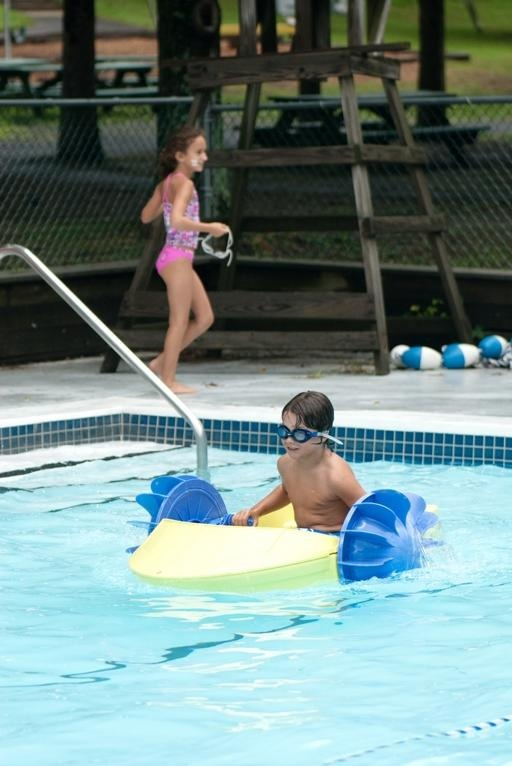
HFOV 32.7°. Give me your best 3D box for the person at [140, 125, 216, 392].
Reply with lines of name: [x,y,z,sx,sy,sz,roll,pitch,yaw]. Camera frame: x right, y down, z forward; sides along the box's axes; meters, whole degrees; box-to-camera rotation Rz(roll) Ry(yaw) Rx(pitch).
person: [-0.497,-0.837,5.865,0.509,1.742,0.910,-2,7,-8]

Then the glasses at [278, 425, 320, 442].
glasses: [0.130,0.151,2.686,0.069,0.024,0.081,5,4,42]
